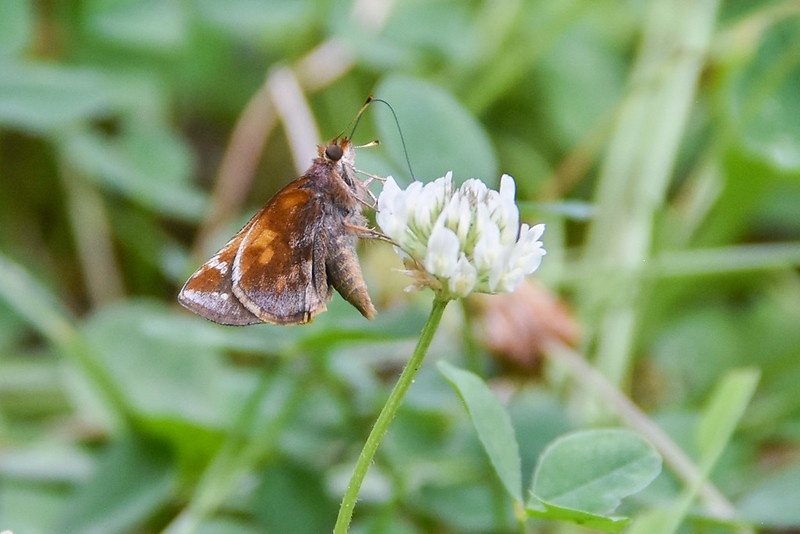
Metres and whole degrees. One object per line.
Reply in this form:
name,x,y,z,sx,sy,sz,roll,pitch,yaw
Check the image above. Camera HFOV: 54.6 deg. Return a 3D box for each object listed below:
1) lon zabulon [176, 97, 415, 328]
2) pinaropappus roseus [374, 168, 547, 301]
lon zabulon,-0.245,-0.096,1.887,0.460,0.417,0.380,10,29,4
pinaropappus roseus,0.129,-0.085,1.668,0.360,0.222,0.259,5,29,-5
